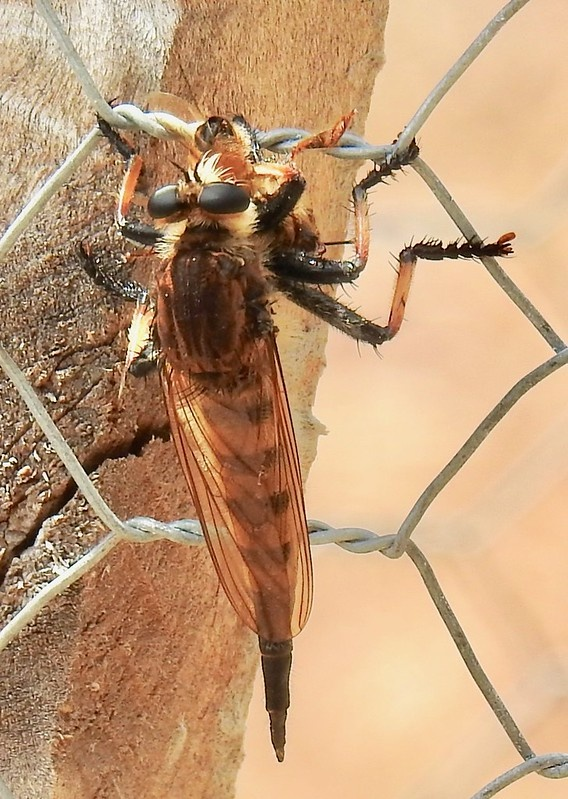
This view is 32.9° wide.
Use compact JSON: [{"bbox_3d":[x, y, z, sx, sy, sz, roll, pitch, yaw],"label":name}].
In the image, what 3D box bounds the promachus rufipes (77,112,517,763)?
[{"bbox_3d":[0.008,-0.004,0.732,0.364,0.127,0.395,-2,-72,10],"label":"promachus rufipes"}]
